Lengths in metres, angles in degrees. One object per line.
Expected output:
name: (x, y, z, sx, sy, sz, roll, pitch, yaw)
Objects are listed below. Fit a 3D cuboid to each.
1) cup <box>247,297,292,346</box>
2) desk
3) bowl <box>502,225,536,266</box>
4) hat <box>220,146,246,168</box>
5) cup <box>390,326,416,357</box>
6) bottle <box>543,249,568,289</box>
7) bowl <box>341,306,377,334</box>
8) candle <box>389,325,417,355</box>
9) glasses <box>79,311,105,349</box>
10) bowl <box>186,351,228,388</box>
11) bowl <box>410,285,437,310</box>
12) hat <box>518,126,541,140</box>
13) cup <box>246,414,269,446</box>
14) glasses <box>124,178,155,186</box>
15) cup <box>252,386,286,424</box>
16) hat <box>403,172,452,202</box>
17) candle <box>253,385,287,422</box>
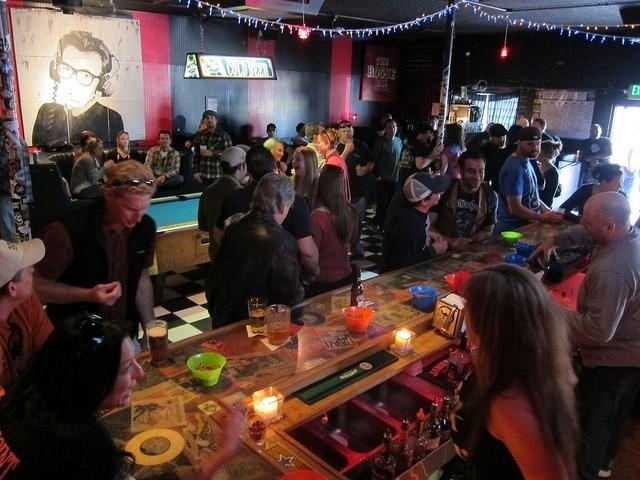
cup: (-0.299, 0.455, 2.417, 0.258, 0.199, 0.231, 3, 16, 2)
desk: (-2.008, -0.131, 5.785, 0.952, 0.378, 1.031, -12, 22, -33)
bowl: (1.756, 0.053, 3.757, 0.219, 0.117, 0.320, -3, 24, -16)
hat: (-0.841, -0.817, 4.142, 0.218, 0.186, 0.210, -4, 17, -19)
cup: (0.465, 0.565, 2.485, 0.126, 0.167, 0.128, 1, 22, -1)
bottle: (1.971, 0.190, 3.515, 0.127, 0.169, 0.476, 19, 28, 27)
bowl: (0.217, 0.465, 2.526, 0.140, 0.100, 0.155, 4, 6, 30)
candle: (0.469, 0.581, 2.507, 0.127, 0.153, 0.132, -15, 25, -39)
glasses: (-0.741, 0.286, 1.406, 0.090, 0.103, 0.095, 11, 18, -23)
bowl: (-0.544, 0.628, 2.063, 0.187, 0.095, 0.182, 2, 16, -1)
bowl: (0.694, 0.380, 2.846, 0.138, 0.077, 0.157, -4, 16, -12)
hat: (2.278, -1.148, 4.635, 0.173, 0.115, 0.176, 6, 15, 33)
cup: (-0.260, 0.816, 1.810, 0.072, 0.090, 0.092, 1, 6, -2)
glasses: (-1.027, -0.341, 2.478, 0.061, 0.046, 0.183, 9, 18, 21)
cup: (-0.235, 0.746, 1.992, 0.144, 0.143, 0.144, 1, 15, 0)
hat: (0.870, -0.434, 3.471, 0.431, 0.236, 0.209, -7, 19, -29)
candle: (-0.229, 0.742, 1.921, 0.139, 0.141, 0.142, 16, 21, 40)
